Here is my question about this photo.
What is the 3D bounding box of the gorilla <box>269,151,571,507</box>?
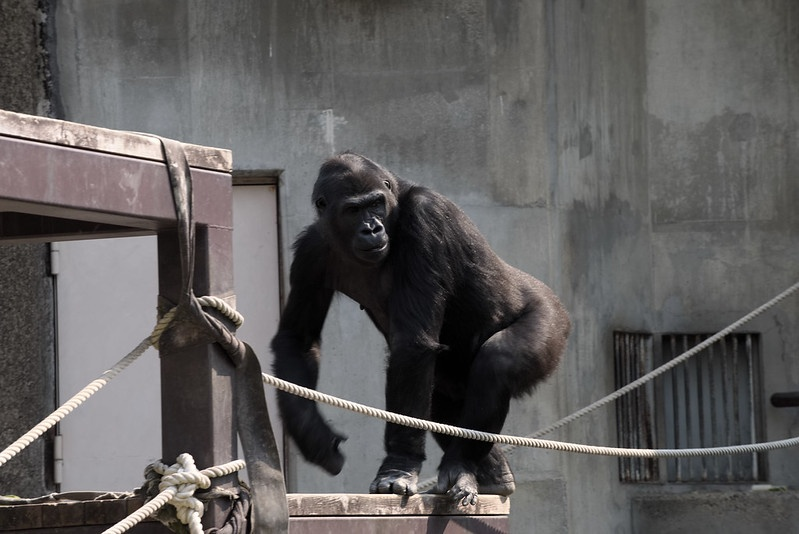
[{"bbox_3d":[0.129,0.411,14.509,1.968,2.393,0.901,3,-3,-4],"label":"gorilla"}]

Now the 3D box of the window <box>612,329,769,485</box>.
[{"bbox_3d":[2.310,1.133,16.756,1.221,1.247,0.295,3,-3,-8],"label":"window"}]
